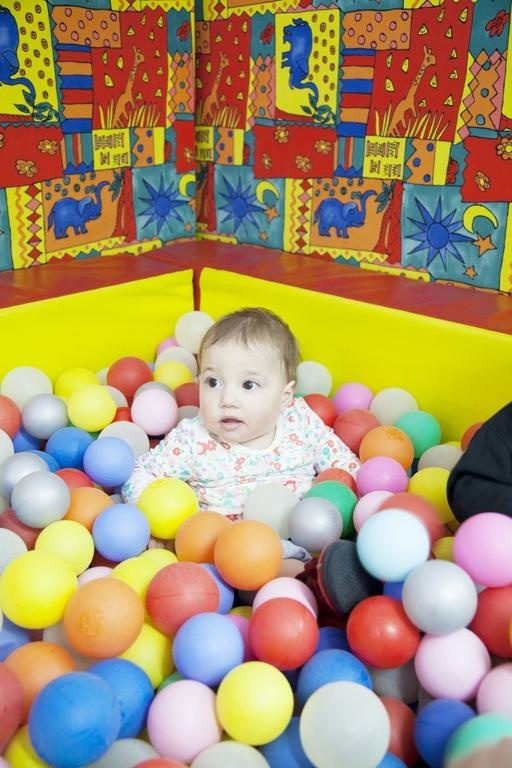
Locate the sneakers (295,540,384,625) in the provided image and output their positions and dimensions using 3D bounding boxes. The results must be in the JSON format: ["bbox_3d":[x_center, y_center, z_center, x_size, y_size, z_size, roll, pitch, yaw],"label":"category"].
[{"bbox_3d":[0.160,0.327,1.032,0.180,0.070,0.135,-21,45,19],"label":"sneakers"}]
